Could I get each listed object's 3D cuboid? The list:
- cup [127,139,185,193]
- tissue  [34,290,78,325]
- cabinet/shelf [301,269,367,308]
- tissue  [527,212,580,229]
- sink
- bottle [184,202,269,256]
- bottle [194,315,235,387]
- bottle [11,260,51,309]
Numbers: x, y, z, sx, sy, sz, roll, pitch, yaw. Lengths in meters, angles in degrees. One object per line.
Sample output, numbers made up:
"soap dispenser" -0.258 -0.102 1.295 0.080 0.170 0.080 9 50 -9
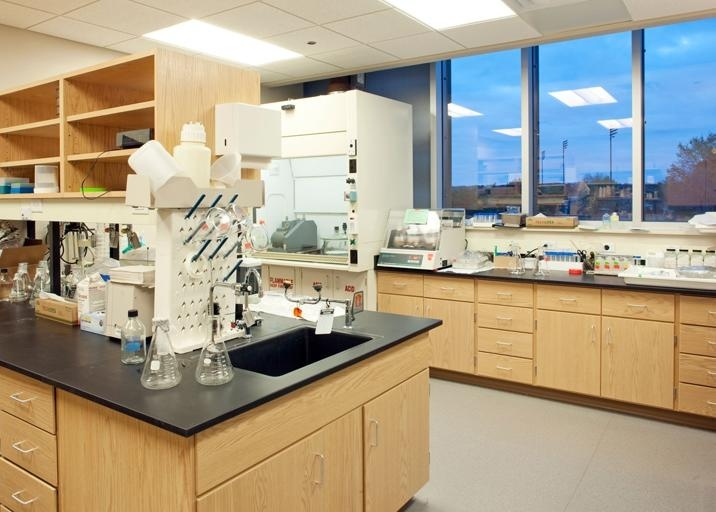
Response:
"cup" -1.014 -0.446 2.710 0.271 0.233 0.169 11 19 42
"tissue " -1.823 0.338 3.318 0.215 0.080 0.224 10 5 27
"cabinet/shelf" -0.265 0.281 5.299 0.750 0.303 0.132 6 16 29
"tissue " 1.784 -0.306 5.103 0.473 0.125 0.123 6 16 27
"sink" -0.319 0.537 3.022 0.322 0.259 0.487 0 3 38
"bottle" -0.718 -0.111 2.754 0.340 0.302 0.302 -7 15 -22
"bottle" -0.679 0.426 2.530 0.172 0.290 0.206 -10 16 -30
"bottle" -2.290 0.199 3.884 0.342 0.296 0.339 2 2 3
